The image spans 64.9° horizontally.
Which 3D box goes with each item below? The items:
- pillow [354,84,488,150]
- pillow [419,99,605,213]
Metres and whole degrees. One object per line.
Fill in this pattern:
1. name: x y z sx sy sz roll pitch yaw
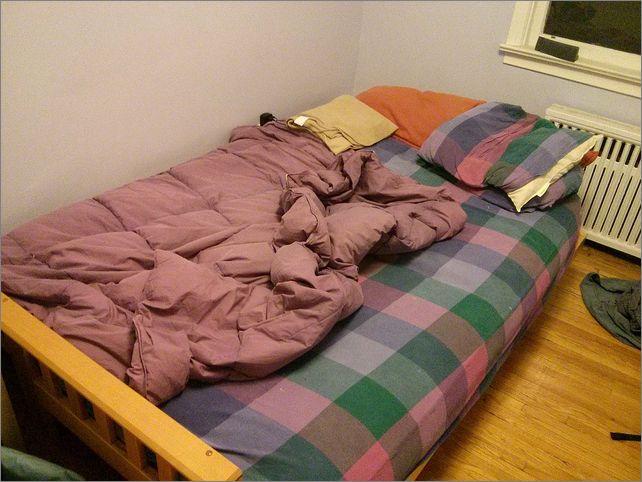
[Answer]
1. pillow: 0.559 -0.823 3.124 0.565 0.147 0.455 24 41 32
2. pillow: 1.083 -0.499 2.733 0.679 0.209 0.684 29 50 34
